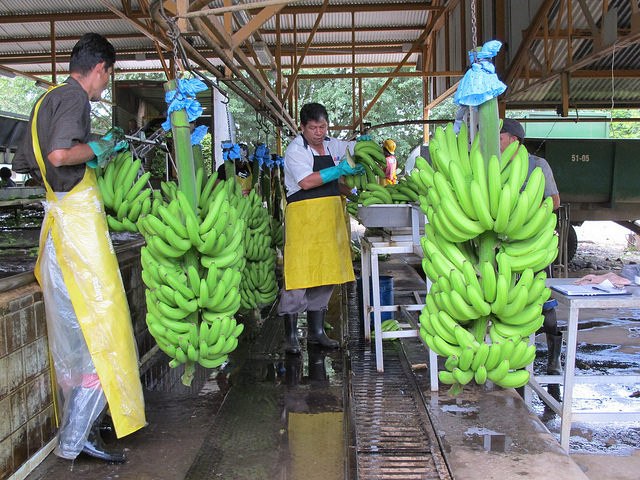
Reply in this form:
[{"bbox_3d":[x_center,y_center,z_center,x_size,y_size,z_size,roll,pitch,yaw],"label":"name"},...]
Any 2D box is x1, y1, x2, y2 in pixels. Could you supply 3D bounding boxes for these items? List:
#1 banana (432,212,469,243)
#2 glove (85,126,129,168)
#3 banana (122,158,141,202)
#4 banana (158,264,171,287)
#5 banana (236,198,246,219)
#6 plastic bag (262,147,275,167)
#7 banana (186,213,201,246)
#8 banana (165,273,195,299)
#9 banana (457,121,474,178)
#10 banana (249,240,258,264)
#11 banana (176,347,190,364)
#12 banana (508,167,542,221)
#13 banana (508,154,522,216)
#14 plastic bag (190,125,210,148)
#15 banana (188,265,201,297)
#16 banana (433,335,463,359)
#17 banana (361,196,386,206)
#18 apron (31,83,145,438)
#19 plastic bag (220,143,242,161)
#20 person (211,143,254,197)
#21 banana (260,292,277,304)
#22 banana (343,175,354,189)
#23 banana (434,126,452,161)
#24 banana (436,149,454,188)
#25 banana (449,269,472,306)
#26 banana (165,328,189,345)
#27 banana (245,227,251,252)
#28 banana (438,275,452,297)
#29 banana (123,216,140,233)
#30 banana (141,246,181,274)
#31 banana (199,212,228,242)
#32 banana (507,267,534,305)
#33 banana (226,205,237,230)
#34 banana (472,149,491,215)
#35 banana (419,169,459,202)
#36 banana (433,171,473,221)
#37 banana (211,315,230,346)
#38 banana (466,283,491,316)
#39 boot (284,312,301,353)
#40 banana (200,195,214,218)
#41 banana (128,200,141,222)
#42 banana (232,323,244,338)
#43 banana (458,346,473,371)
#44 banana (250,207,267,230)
[{"bbox_3d":[0.648,-0.060,2.631,0.046,0.162,0.136,-28,-7,18],"label":"banana"},{"bbox_3d":[-1.346,-0.633,3.499,0.203,0.152,0.477,-29,2,-18],"label":"glove"},{"bbox_3d":[-1.201,-0.383,3.350,0.052,0.272,0.088,19,-10,7],"label":"banana"},{"bbox_3d":[-0.846,0.202,2.910,0.035,0.135,0.043,-10,9,34],"label":"banana"},{"bbox_3d":[-0.716,-0.296,4.770,0.071,0.223,0.044,-5,-28,41],"label":"banana"},{"bbox_3d":[-0.569,-0.923,5.859,0.126,0.138,0.119,-8,5,-5],"label":"plastic bag"},{"bbox_3d":[-0.660,-0.061,2.786,0.040,0.165,0.046,-16,37,-8],"label":"banana"},{"bbox_3d":[-0.766,0.253,2.879,0.039,0.149,0.050,-43,5,1],"label":"banana"},{"bbox_3d":[0.738,-0.473,2.769,0.048,0.294,0.094,-10,-12,29],"label":"banana"},{"bbox_3d":[-0.642,0.115,5.161,0.050,0.221,0.076,4,8,-28],"label":"banana"},{"bbox_3d":[-0.772,0.648,2.964,0.067,0.115,0.092,-3,10,-16],"label":"banana"},{"bbox_3d":[1.056,-0.182,2.649,0.084,0.266,0.071,-13,46,-11],"label":"banana"},{"bbox_3d":[0.953,-0.286,2.576,0.061,0.327,0.077,11,-22,-2],"label":"banana"},{"bbox_3d":[-0.704,-0.600,3.050,0.102,0.113,0.039,12,1,-5],"label":"plastic bag"},{"bbox_3d":[-0.678,0.215,2.858,0.047,0.186,0.054,-11,14,6],"label":"banana"},{"bbox_3d":[0.618,0.523,2.580,0.176,0.124,0.057,13,-1,-13],"label":"banana"},{"bbox_3d":[0.504,-0.341,4.603,0.310,0.072,0.090,1,19,-15],"label":"banana"},{"bbox_3d":[-1.437,0.126,3.297,0.556,2.161,0.345,8,12,40],"label":"apron"},{"bbox_3d":[-0.853,-0.867,5.118,0.196,0.216,0.059,-2,-24,-6],"label":"plastic bag"},{"bbox_3d":[-0.984,-0.775,5.764,0.313,0.594,0.730,16,-11,-12],"label":"person"},{"bbox_3d":[-0.518,0.596,5.401,0.085,0.056,0.223,-2,4,37],"label":"banana"},{"bbox_3d":[0.274,-0.528,4.750,0.048,0.142,0.038,-10,-10,-12],"label":"banana"},{"bbox_3d":[0.650,-0.531,2.796,0.048,0.198,0.061,-15,-2,-22],"label":"banana"},{"bbox_3d":[0.624,-0.366,2.680,0.050,0.194,0.049,-26,-11,12],"label":"banana"},{"bbox_3d":[0.684,0.226,2.548,0.043,0.169,0.058,-30,-2,26],"label":"banana"},{"bbox_3d":[-0.786,0.535,2.909,0.130,0.095,0.052,-2,10,-9],"label":"banana"},{"bbox_3d":[-0.689,-0.021,5.053,0.047,0.205,0.038,2,8,28],"label":"banana"},{"bbox_3d":[0.620,0.222,2.616,0.037,0.120,0.041,-30,8,-23],"label":"banana"},{"bbox_3d":[-1.182,-0.087,3.360,0.057,0.077,0.193,-26,-12,-10],"label":"banana"},{"bbox_3d":[-0.884,0.106,2.937,0.193,0.067,0.039,41,-23,-20],"label":"banana"},{"bbox_3d":[-0.562,-0.116,2.942,0.064,0.098,0.282,29,36,-3],"label":"banana"},{"bbox_3d":[0.992,0.187,2.590,0.064,0.095,0.281,22,41,19],"label":"banana"},{"bbox_3d":[-0.507,-0.138,3.040,0.031,0.129,0.045,9,43,6],"label":"banana"},{"bbox_3d":[0.766,-0.272,2.554,0.059,0.323,0.076,-9,-6,17],"label":"banana"},{"bbox_3d":[0.601,-0.307,2.779,0.260,0.098,0.073,32,-21,-2],"label":"banana"},{"bbox_3d":[0.651,-0.211,2.575,0.047,0.238,0.079,-34,2,-18],"label":"banana"},{"bbox_3d":[-0.540,0.490,2.967,0.053,0.210,0.069,31,18,16],"label":"banana"},{"bbox_3d":[0.756,0.293,2.520,0.062,0.213,0.077,-28,22,21],"label":"banana"},{"bbox_3d":[-0.257,0.850,4.992,0.150,0.409,0.219,-1,10,-4],"label":"boot"},{"bbox_3d":[-0.689,-0.213,3.213,0.071,0.047,0.216,-8,30,-2],"label":"banana"},{"bbox_3d":[-1.154,-0.182,3.325,0.045,0.160,0.056,31,17,3],"label":"banana"},{"bbox_3d":[-0.484,0.532,3.090,0.042,0.035,0.126,-25,-20,-40],"label":"banana"},{"bbox_3d":[0.704,0.575,2.535,0.060,0.136,0.048,0,10,1],"label":"banana"},{"bbox_3d":[-0.584,-0.239,5.325,0.052,0.274,0.089,36,-23,-27],"label":"banana"}]
